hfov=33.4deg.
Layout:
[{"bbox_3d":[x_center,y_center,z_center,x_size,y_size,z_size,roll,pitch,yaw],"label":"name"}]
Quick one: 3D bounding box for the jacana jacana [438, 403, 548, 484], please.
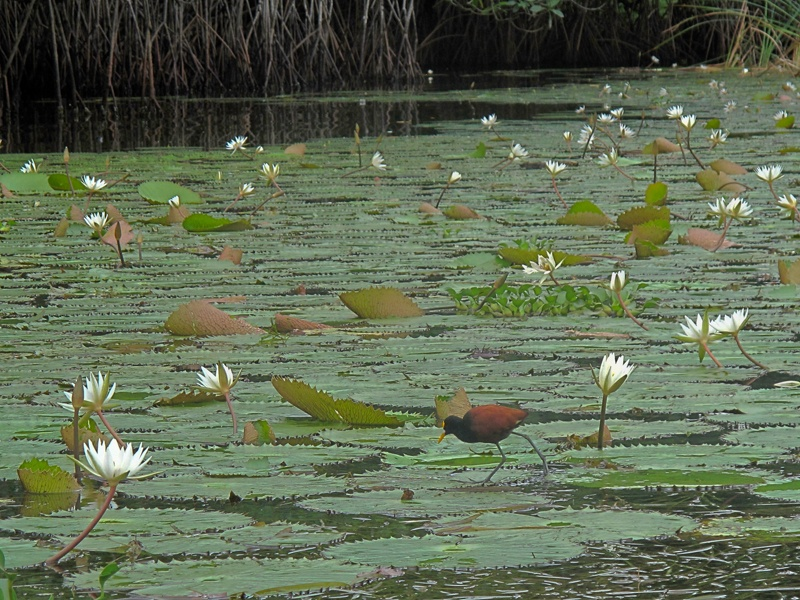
[{"bbox_3d":[0.181,0.282,2.659,0.280,0.186,0.110,-4,13,5],"label":"jacana jacana"}]
